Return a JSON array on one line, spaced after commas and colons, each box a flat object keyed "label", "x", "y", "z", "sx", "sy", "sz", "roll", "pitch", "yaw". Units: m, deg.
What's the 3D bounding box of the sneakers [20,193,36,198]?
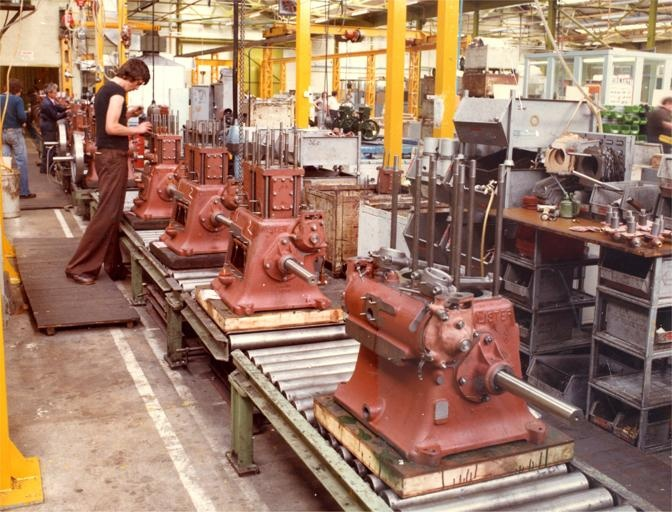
[{"label": "sneakers", "x": -5.779, "y": -1.127, "z": 10.585, "sx": 0.262, "sy": 0.120, "sz": 0.090, "roll": -5, "pitch": 14, "yaw": -21}]

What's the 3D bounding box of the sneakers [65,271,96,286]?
[{"label": "sneakers", "x": -2.690, "y": 0.228, "z": 5.926, "sx": 0.247, "sy": 0.114, "sz": 0.133, "roll": 3, "pitch": 11, "yaw": 1}]

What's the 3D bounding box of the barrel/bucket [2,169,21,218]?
[{"label": "barrel/bucket", "x": -5.173, "y": -0.980, "z": 8.946, "sx": 0.246, "sy": 0.810, "sz": 0.455, "roll": -7, "pitch": 14, "yaw": -29}]
